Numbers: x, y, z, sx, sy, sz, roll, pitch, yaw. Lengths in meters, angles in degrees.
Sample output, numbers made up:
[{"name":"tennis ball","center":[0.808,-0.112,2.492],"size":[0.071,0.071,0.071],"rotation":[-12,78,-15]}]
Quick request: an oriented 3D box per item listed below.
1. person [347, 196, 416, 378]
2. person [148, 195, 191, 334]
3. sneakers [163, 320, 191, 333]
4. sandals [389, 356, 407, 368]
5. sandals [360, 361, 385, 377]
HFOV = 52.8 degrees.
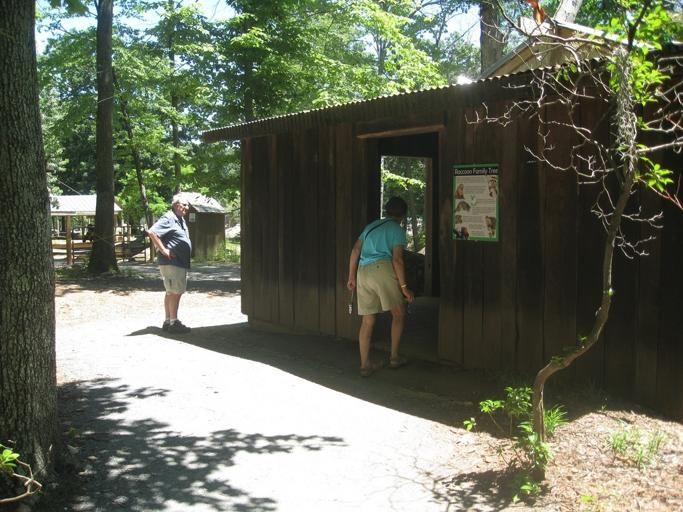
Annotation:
[{"name":"person","center":[0.452,0.350,8.391],"size":[0.763,2.125,0.484],"rotation":[1,8,7]},{"name":"person","center":[-2.582,0.137,10.661],"size":[0.569,2.165,1.023],"rotation":[-2,9,-13]},{"name":"sneakers","center":[-2.501,1.080,10.699],"size":[0.384,0.188,0.163],"rotation":[0,4,-12]},{"name":"sandals","center":[0.675,1.297,8.513],"size":[0.097,0.092,0.201],"rotation":[4,12,33]},{"name":"sandals","center":[0.365,1.356,8.462],"size":[0.316,0.133,0.114],"rotation":[-25,24,-36]}]
